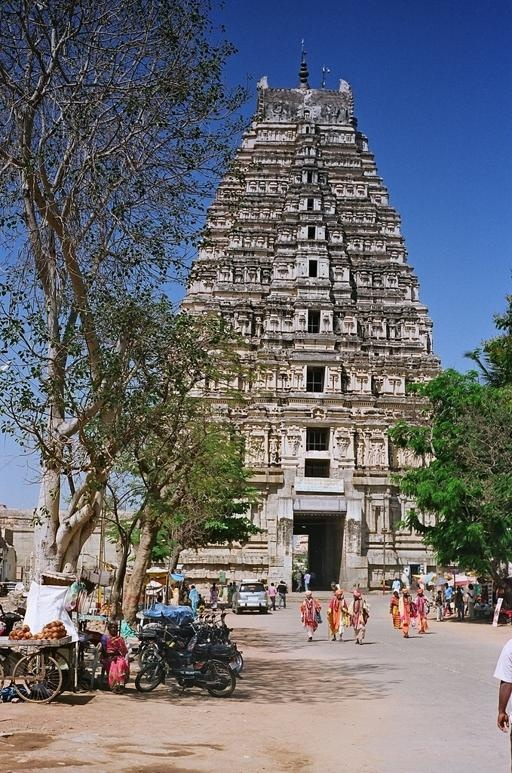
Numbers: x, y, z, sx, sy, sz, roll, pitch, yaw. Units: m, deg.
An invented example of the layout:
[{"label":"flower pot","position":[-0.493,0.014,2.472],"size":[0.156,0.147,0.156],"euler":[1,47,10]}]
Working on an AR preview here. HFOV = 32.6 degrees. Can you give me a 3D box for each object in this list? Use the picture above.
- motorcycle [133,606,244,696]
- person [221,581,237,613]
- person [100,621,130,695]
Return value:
[{"label":"motorcycle","position":[-1.121,4.213,14.060],"size":[1.807,1.150,1.055],"euler":[-1,-50,6]},{"label":"person","position":[-1.175,9.293,38.606],"size":[0.884,0.724,1.468],"euler":[0,-7,-3]},{"label":"person","position":[-2.193,4.155,13.422],"size":[0.447,1.020,0.819],"euler":[5,-17,-6]}]
